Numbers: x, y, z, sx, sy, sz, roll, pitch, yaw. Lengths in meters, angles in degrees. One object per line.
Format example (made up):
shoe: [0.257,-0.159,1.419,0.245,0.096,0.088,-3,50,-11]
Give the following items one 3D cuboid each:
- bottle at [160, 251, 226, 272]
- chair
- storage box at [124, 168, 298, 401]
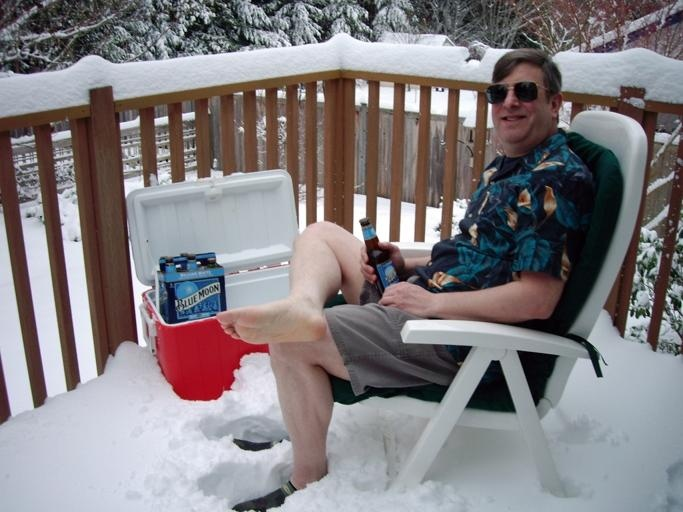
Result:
bottle: [-0.613,0.014,2.056,0.241,0.064,0.116,-8,18,-16]
chair: [0.447,0.054,2.021,0.966,1.488,0.961,2,8,-1]
storage box: [-0.540,0.123,2.053,0.726,0.838,0.450,-11,19,-27]
